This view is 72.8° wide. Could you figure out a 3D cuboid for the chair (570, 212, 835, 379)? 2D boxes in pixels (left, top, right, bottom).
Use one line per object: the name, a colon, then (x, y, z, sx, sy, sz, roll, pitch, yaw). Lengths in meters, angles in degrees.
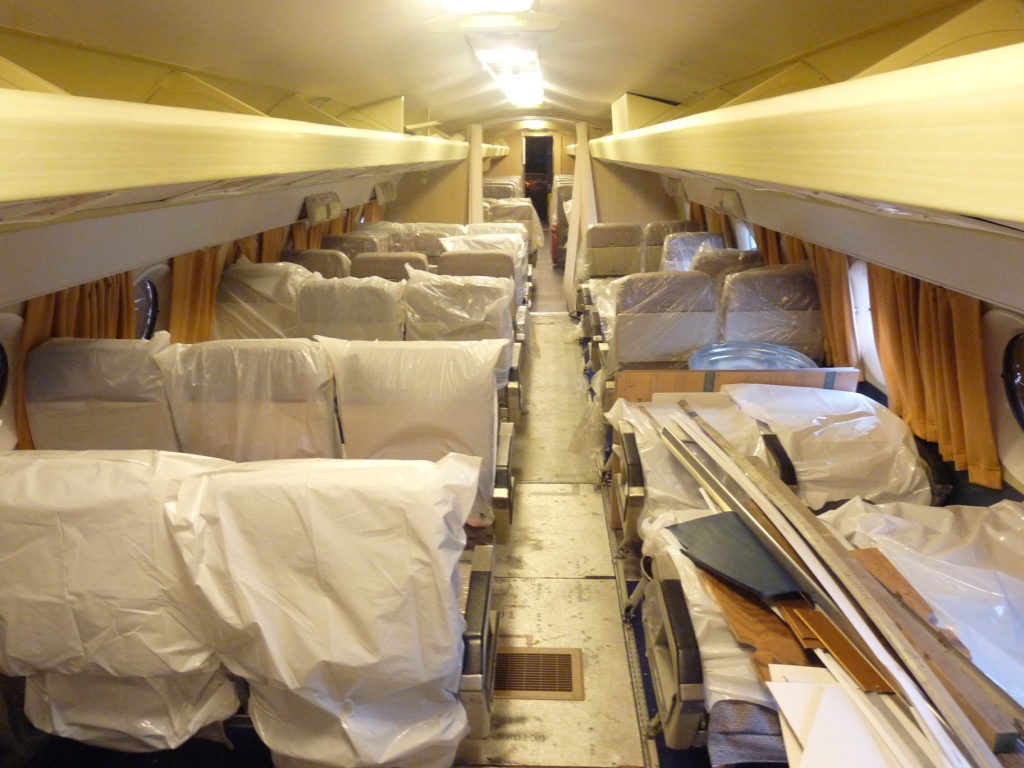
chair: (1.095, -0.463, 4.132, 1.187, 0.750, 1.381, 2, 7, 11)
